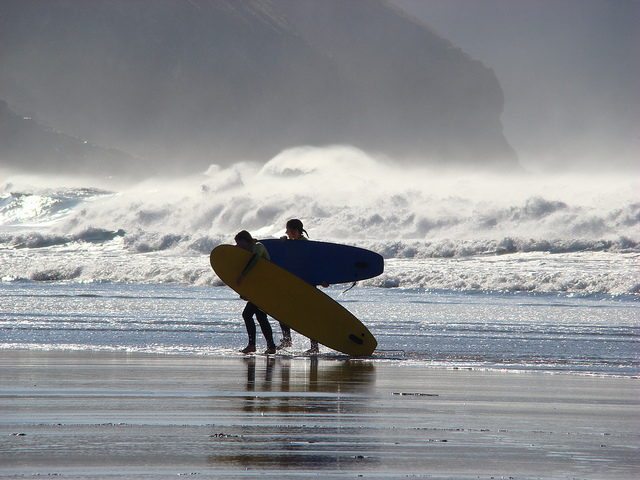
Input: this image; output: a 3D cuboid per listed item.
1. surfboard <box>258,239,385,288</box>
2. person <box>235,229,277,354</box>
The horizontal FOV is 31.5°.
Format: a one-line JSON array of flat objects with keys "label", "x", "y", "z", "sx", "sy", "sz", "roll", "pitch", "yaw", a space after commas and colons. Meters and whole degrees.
[{"label": "surfboard", "x": -0.338, "y": 0.431, "z": 21.983, "sx": 4.311, "sy": 0.970, "sz": 0.454, "roll": 3, "pitch": -23, "yaw": -46}, {"label": "person", "x": -1.192, "y": 1.023, "z": 21.417, "sx": 1.031, "sy": 2.668, "sz": 0.932, "roll": 0, "pitch": -38, "yaw": -4}]
